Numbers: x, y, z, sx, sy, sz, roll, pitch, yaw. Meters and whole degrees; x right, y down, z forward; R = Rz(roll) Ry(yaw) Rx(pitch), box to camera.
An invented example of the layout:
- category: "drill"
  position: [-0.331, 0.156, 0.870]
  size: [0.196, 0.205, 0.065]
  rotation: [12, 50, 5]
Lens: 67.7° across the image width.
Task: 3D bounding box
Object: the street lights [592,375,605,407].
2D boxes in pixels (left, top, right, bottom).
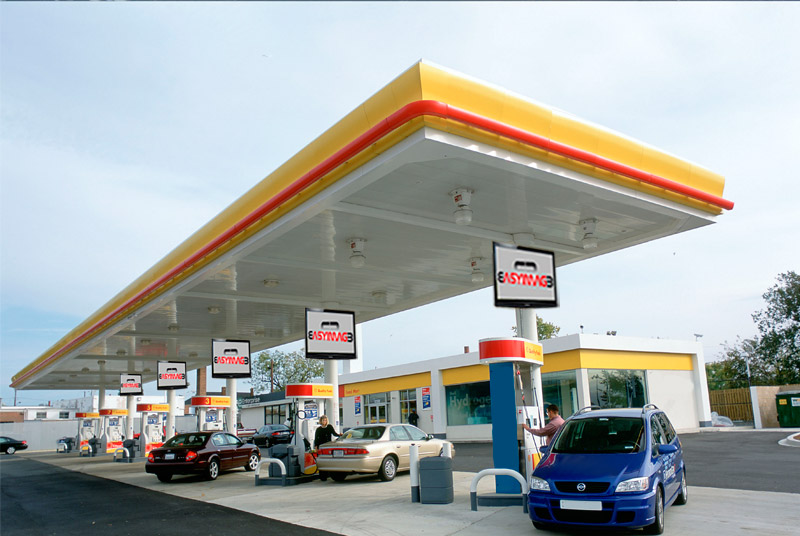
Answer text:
- category: "street lights"
  position: [10.842, 6.692, 33.286]
  size: [0.936, 1.718, 0.289]
  rotation: [15, -23, -40]

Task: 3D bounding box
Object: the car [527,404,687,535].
- category: "car"
  position: [4.195, 3.879, 11.850]
  size: [3.234, 2.365, 1.892]
  rotation: [13, -21, -37]
